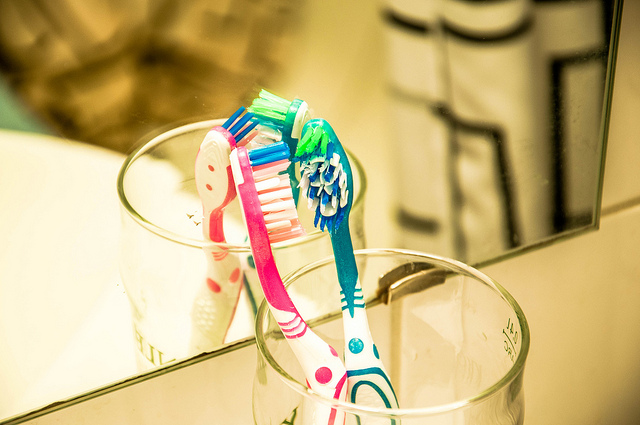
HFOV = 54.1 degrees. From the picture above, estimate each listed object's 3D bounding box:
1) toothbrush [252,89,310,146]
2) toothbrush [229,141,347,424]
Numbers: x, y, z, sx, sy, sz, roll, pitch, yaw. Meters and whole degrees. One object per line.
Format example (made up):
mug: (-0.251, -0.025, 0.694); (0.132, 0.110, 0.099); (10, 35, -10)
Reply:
toothbrush: (-0.037, -0.083, 0.558); (0.058, 0.046, 0.024); (14, 26, 9)
toothbrush: (-0.021, 0.060, 0.551); (0.050, 0.247, 0.119); (-15, -16, 42)
